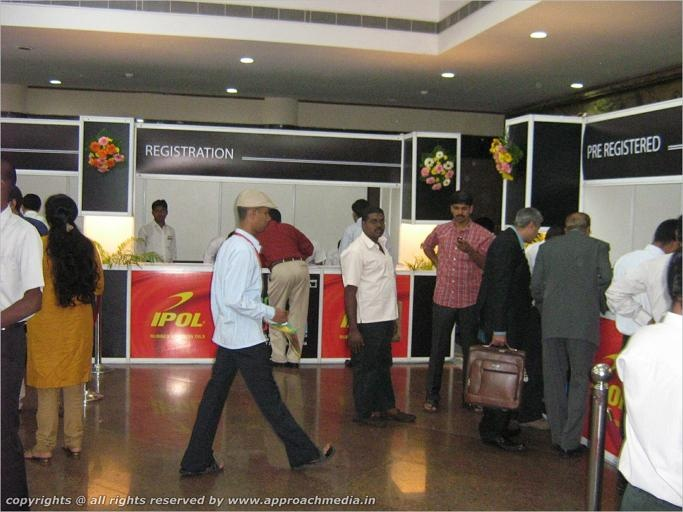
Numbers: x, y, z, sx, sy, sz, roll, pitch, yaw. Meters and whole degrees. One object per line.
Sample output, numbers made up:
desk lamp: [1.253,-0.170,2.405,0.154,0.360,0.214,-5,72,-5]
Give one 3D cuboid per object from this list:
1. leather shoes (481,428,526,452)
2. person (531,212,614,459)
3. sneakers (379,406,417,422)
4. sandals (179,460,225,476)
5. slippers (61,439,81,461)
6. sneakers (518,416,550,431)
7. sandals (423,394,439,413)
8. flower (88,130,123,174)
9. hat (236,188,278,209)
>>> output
leather shoes: [1.251,1.435,4.521,0.371,0.138,0.140,-2,-3,27]
person: [1.718,0.660,4.384,0.561,1.658,0.309,3,6,18]
sneakers: [0.478,1.340,4.947,0.299,0.122,0.127,0,0,7]
sandals: [-0.949,1.413,3.874,0.277,0.076,0.100,-2,11,-37]
slippers: [-1.938,1.370,4.105,0.069,0.081,0.188,0,9,-22]
sneakers: [1.658,1.430,4.974,0.254,0.175,0.090,2,-5,-16]
sandals: [0.823,1.344,5.214,0.070,0.087,0.192,10,-28,-16]
flower: [-2.738,-1.160,6.664,0.402,0.434,0.139,-1,6,-24]
hat: [-0.564,-0.366,3.791,0.196,0.102,0.140,-6,11,-31]
